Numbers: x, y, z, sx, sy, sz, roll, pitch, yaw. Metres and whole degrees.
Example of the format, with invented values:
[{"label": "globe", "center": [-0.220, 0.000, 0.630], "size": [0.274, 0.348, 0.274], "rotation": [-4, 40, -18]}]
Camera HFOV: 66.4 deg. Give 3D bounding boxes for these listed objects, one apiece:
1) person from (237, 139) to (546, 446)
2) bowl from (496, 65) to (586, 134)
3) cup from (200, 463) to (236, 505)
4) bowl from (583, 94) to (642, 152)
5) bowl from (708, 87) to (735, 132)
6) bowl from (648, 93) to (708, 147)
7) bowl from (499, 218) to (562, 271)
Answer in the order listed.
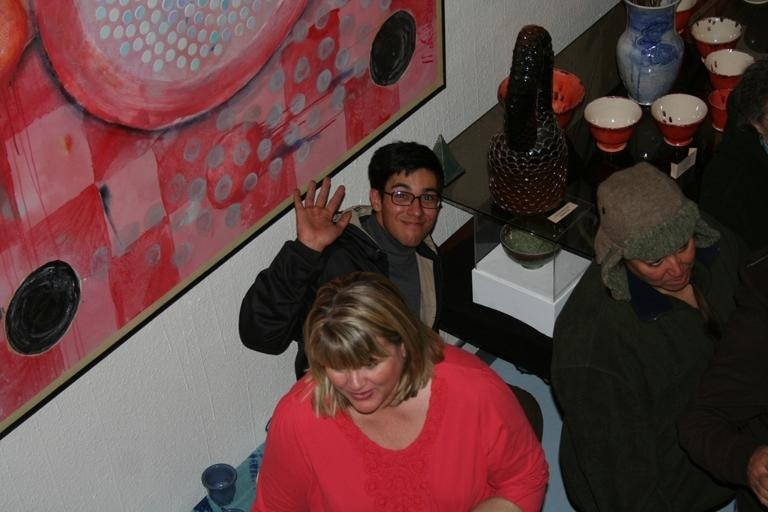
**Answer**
[{"label": "person", "center": [0.007, 0.111, 2.215], "size": [0.398, 1.247, 0.617], "rotation": [17, 46, 34]}, {"label": "bowl", "center": [0.766, -0.741, 2.883], "size": [0.339, 0.155, 0.409], "rotation": [5, 71, 6]}, {"label": "cup", "center": [-0.703, 0.968, 2.479], "size": [0.163, 0.153, 0.104], "rotation": [-3, 23, 4]}, {"label": "bowl", "center": [1.087, -0.572, 2.641], "size": [0.206, 0.158, 0.231], "rotation": [-15, 37, 20]}, {"label": "bowl", "center": [1.543, -0.691, 2.756], "size": [0.135, 0.145, 0.169], "rotation": [1, 41, 17]}, {"label": "bowl", "center": [1.354, -0.626, 2.705], "size": [0.218, 0.204, 0.191], "rotation": [-16, 26, -23]}, {"label": "bowl", "center": [0.611, -0.067, 2.585], "size": [0.271, 0.157, 0.294], "rotation": [1, -5, 0]}]
